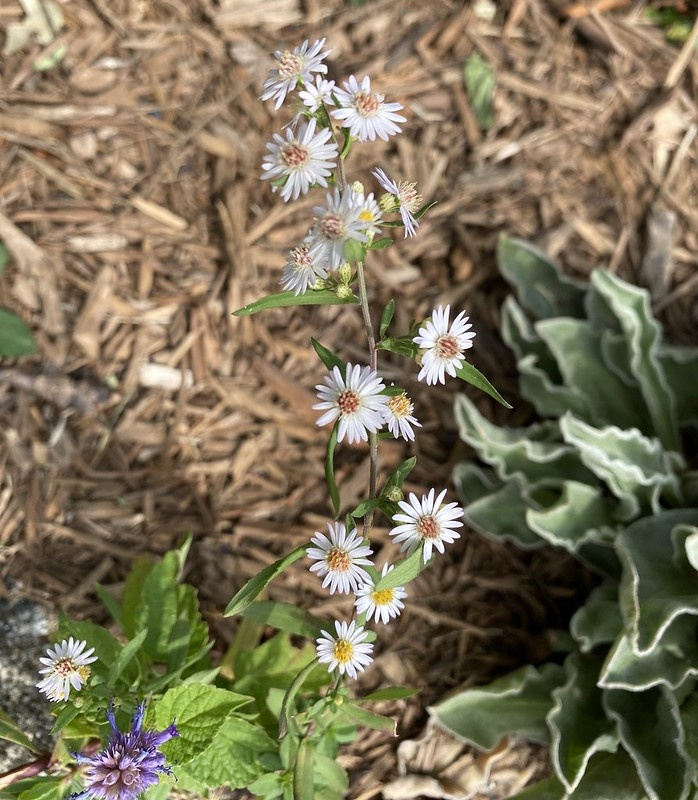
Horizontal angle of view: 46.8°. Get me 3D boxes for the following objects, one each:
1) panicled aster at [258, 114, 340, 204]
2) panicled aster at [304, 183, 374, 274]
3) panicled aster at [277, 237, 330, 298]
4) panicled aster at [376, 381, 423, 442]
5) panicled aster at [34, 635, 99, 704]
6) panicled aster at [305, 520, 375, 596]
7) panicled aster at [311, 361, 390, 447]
[{"bbox_3d":[-0.061,-0.297,0.949,0.090,0.089,0.029,-12,93,17],"label":"panicled aster"},{"bbox_3d":[-0.009,-0.197,0.934,0.099,0.038,0.083,-6,83,21],"label":"panicled aster"},{"bbox_3d":[-0.054,-0.159,0.947,0.034,0.066,0.060,9,69,-26],"label":"panicled aster"},{"bbox_3d":[0.062,0.021,1.012,0.035,0.080,0.072,-20,63,25],"label":"panicled aster"},{"bbox_3d":[-0.351,0.331,1.000,0.077,0.066,0.020,-2,90,-10],"label":"panicled aster"},{"bbox_3d":[-0.013,0.180,0.995,0.112,0.102,0.025,4,104,12],"label":"panicled aster"},{"bbox_3d":[-0.004,-0.006,0.938,0.093,0.086,0.018,6,119,6],"label":"panicled aster"}]
